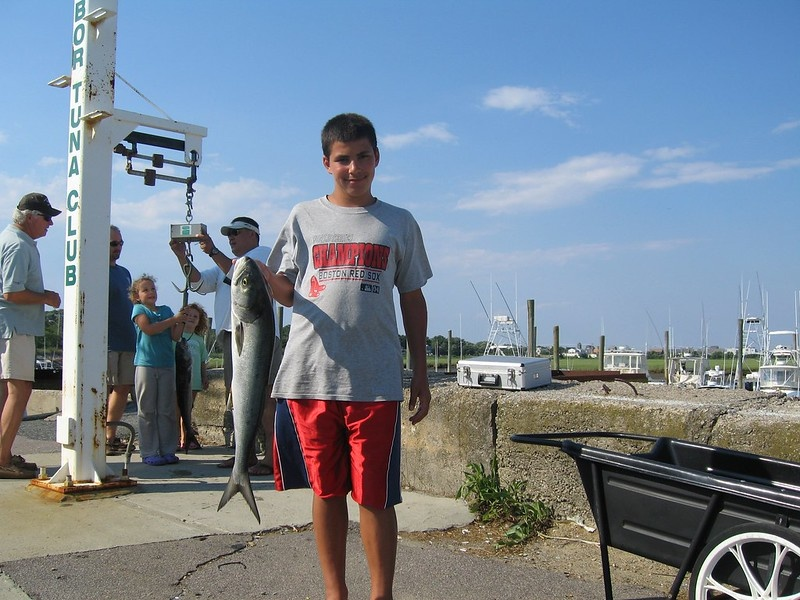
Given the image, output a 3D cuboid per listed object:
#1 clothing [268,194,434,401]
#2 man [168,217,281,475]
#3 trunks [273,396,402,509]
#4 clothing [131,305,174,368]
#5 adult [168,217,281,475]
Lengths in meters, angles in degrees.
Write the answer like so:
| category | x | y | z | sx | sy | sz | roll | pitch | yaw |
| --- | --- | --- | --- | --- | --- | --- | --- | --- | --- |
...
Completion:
| category | x | y | z | sx | sy | sz | roll | pitch | yaw |
| --- | --- | --- | --- | --- | --- | --- | --- | --- | --- |
| clothing | -0.266 | -0.005 | 3.583 | 0.918 | 1.199 | 0.411 | 0 | -7 | 3 |
| man | -1.614 | 0.282 | 6.713 | 0.856 | 2.032 | 0.668 | -2 | 18 | -12 |
| trunks | -0.320 | 0.705 | 3.714 | 0.674 | 0.572 | 0.400 | 2 | 11 | 3 |
| clothing | -2.339 | 0.337 | 6.897 | 0.454 | 0.631 | 0.261 | 1 | -2 | -39 |
| adult | -1.592 | 0.280 | 6.660 | 0.795 | 2.024 | 0.639 | -2 | 13 | -11 |
